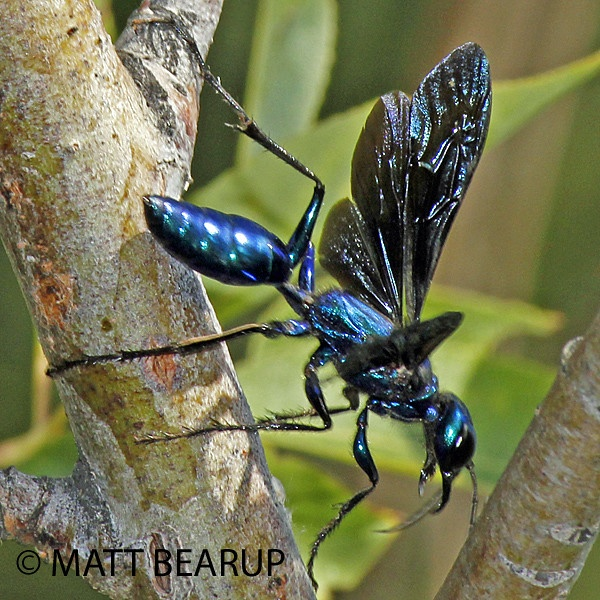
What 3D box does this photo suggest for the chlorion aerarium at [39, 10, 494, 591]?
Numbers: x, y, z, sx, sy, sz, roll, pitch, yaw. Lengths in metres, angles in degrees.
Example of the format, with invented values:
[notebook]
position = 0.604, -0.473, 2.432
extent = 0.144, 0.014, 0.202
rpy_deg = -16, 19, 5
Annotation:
[chlorion aerarium]
position = 0.022, -0.001, 1.365
extent = 0.536, 0.645, 0.443
rpy_deg = 4, 20, -28
